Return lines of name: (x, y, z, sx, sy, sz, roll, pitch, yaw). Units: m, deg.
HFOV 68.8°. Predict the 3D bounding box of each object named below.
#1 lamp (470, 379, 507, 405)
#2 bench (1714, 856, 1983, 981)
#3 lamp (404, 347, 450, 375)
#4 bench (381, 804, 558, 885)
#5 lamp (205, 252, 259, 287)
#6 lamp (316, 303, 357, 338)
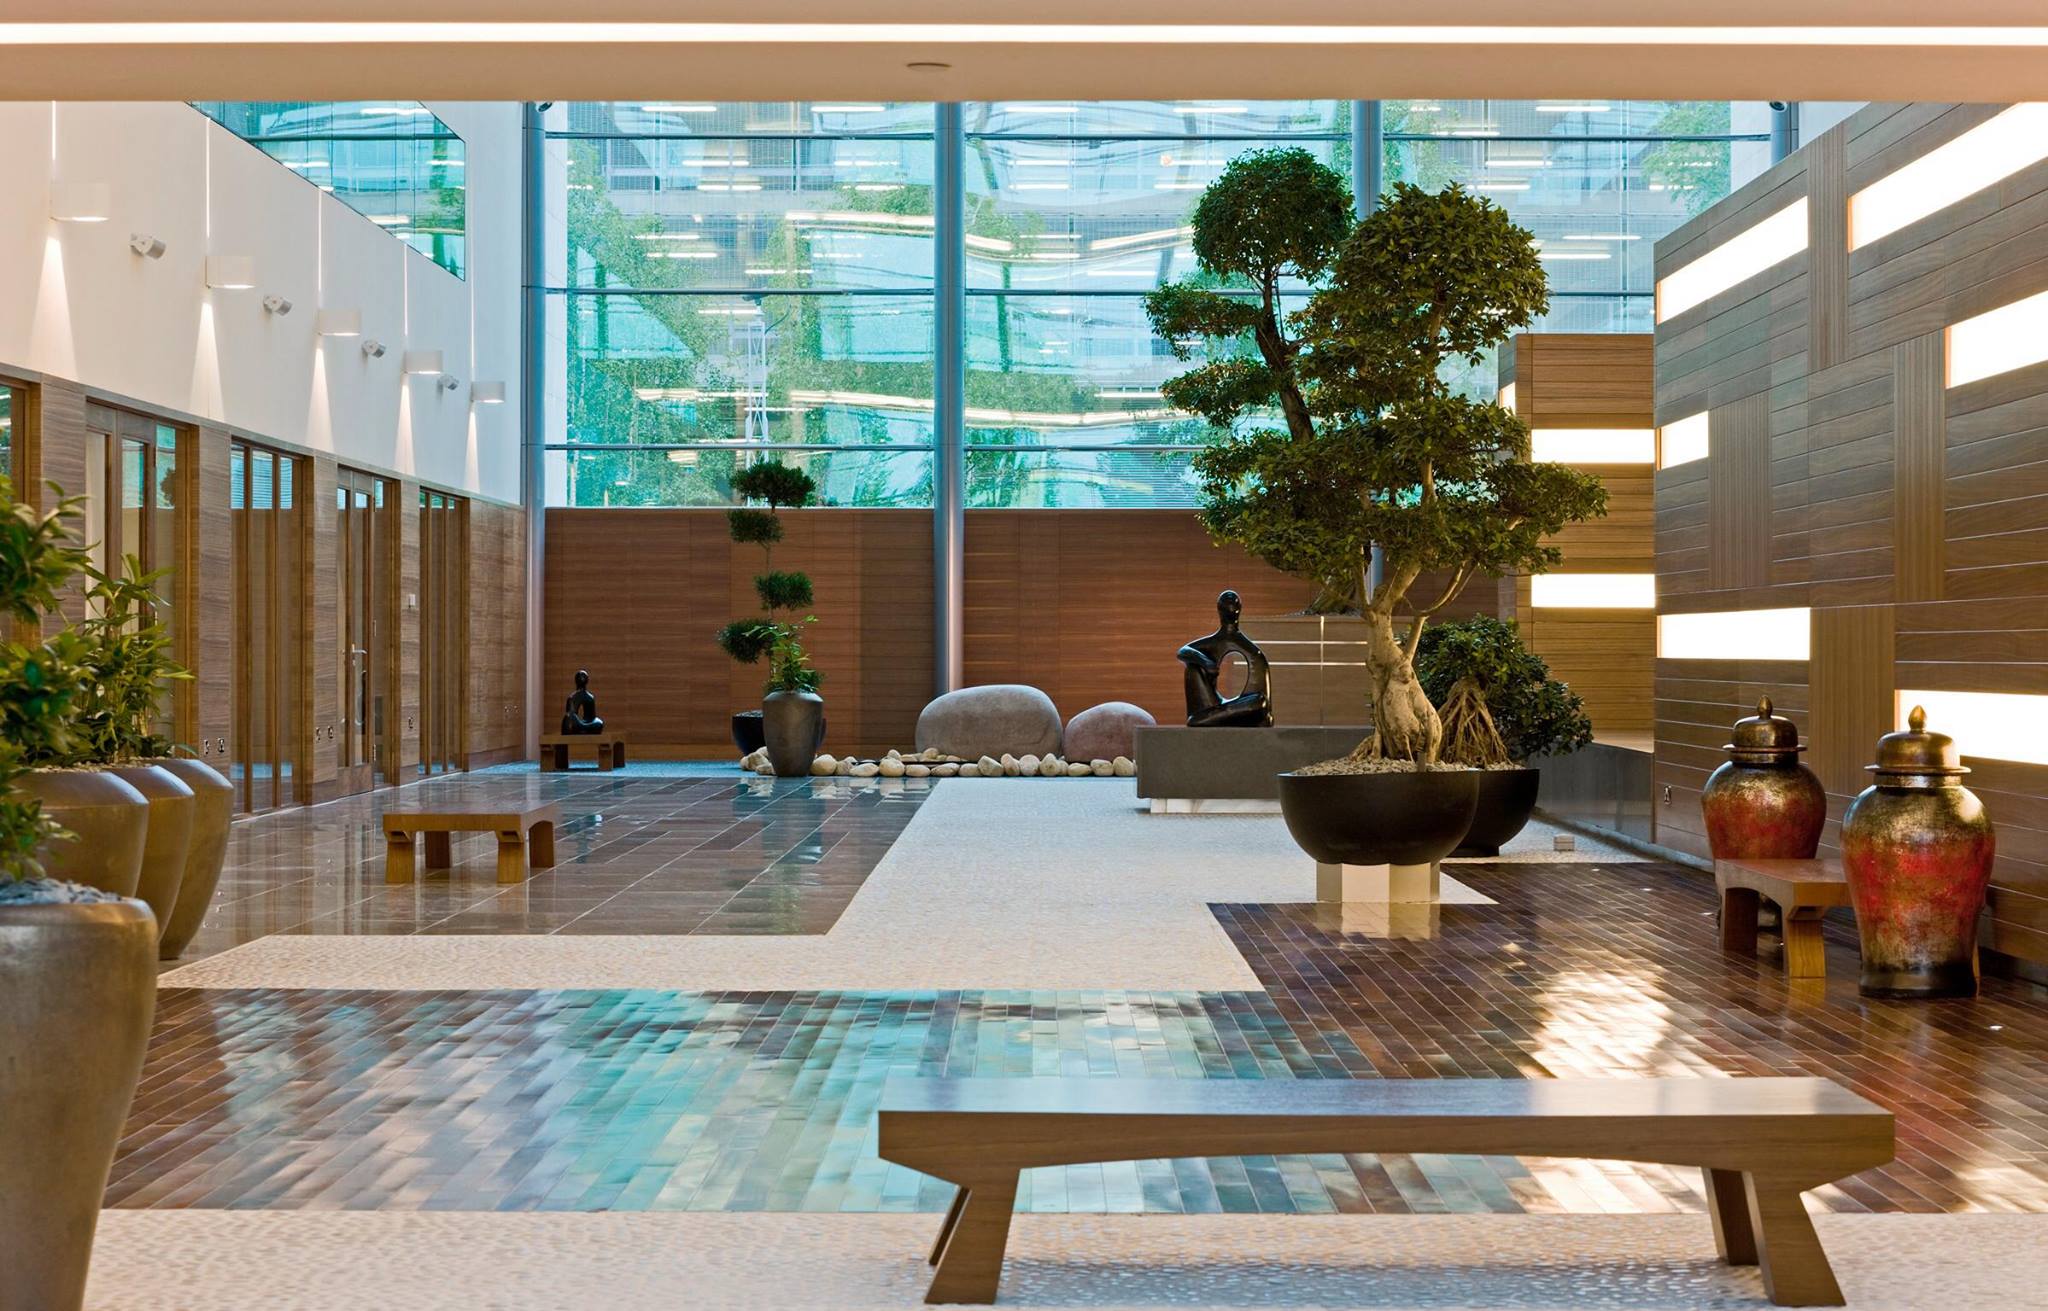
lamp: (-6.376, -3.121, 17.635, 0.366, 0.288, 0.201, 0, 17, -19)
bench: (4.074, 1.293, 7.486, 0.927, 0.358, 1.264, -2, -4, 2)
lamp: (-6.428, -3.159, 15.789, 0.355, 0.178, 0.353, -3, -4, 37)
bench: (-3.643, 1.195, 9.708, 0.693, 0.297, 0.870, 1, -3, -2)
lamp: (-6.395, -3.112, 11.970, 0.339, 0.204, 0.301, 0, -2, -14)
lamp: (-6.393, -3.144, 13.903, 0.367, 0.218, 0.324, 0, 0, 4)
